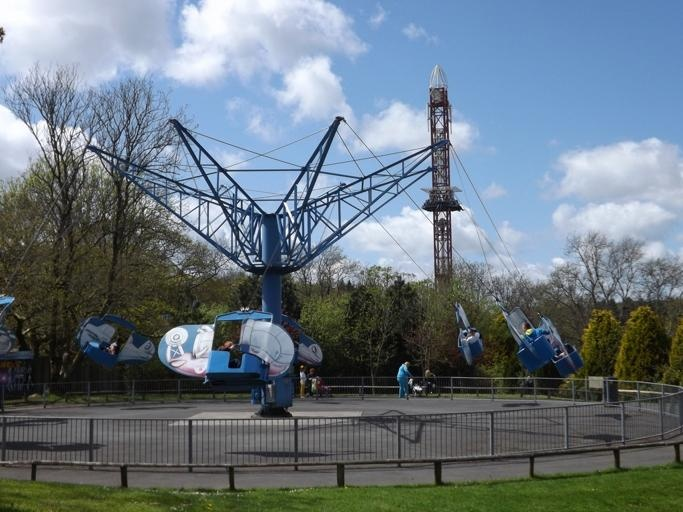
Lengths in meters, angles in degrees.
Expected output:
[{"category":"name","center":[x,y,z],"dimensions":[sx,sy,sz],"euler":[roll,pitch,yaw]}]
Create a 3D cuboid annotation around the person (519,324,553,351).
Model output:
[{"category":"person","center":[7.387,3.004,30.824],"dimensions":[0.999,0.968,1.504],"euler":[-3,-11,13]}]
